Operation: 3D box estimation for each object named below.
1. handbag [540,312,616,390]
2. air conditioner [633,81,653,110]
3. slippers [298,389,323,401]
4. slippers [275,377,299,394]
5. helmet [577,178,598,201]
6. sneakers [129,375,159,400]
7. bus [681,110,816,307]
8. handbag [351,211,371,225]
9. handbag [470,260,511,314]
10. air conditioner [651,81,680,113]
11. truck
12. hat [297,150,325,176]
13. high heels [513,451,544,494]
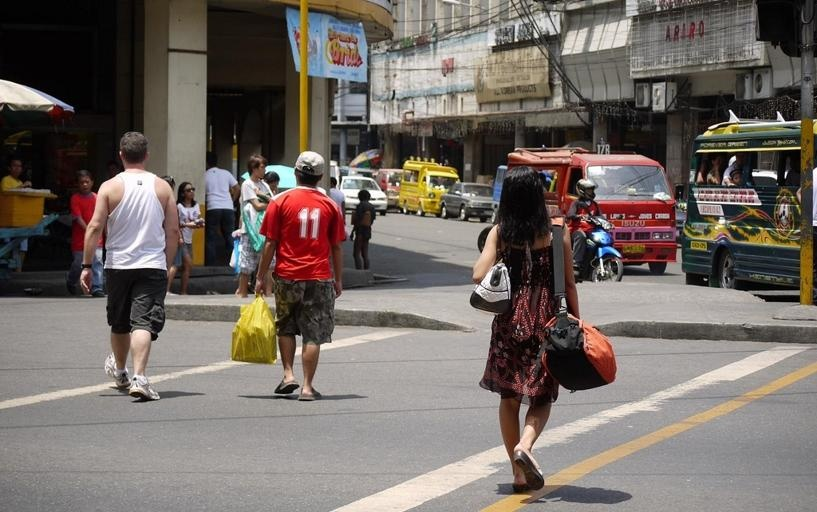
[{"bbox_3d":[1.525,0.799,9.244,0.692,0.740,0.549,-11,6,-10],"label":"handbag"},{"bbox_3d":[9.198,-6.330,39.754,0.530,1.000,0.904,2,8,4],"label":"air conditioner"},{"bbox_3d":[-1.080,1.538,11.335,0.226,0.102,0.112,-2,2,-14],"label":"slippers"},{"bbox_3d":[-1.343,1.456,11.336,0.138,0.138,0.311,1,-6,-17],"label":"slippers"},{"bbox_3d":[3.511,-1.344,20.333,0.501,0.537,0.471,0,5,23],"label":"helmet"},{"bbox_3d":[-2.886,1.418,11.151,0.330,0.309,0.274,-1,9,-19],"label":"sneakers"},{"bbox_3d":[7.138,-0.961,19.510,2.093,2.738,3.304,1,0,-26],"label":"bus"},{"bbox_3d":[-1.052,-0.881,23.478,0.349,0.326,0.307,1,4,9],"label":"handbag"},{"bbox_3d":[0.746,0.291,8.992,0.378,0.485,0.194,0,8,-7],"label":"handbag"},{"bbox_3d":[10.030,-6.138,39.158,1.010,1.600,1.041,1,0,-23],"label":"air conditioner"},{"bbox_3d":[4.388,-1.336,25.741,2.377,2.958,4.794,0,0,-20],"label":"truck"},{"bbox_3d":[-1.106,-1.058,11.463,0.355,0.279,0.595,14,5,-9],"label":"hat"},{"bbox_3d":[1.070,1.875,8.898,0.170,0.456,0.181,-16,23,37],"label":"high heels"}]
